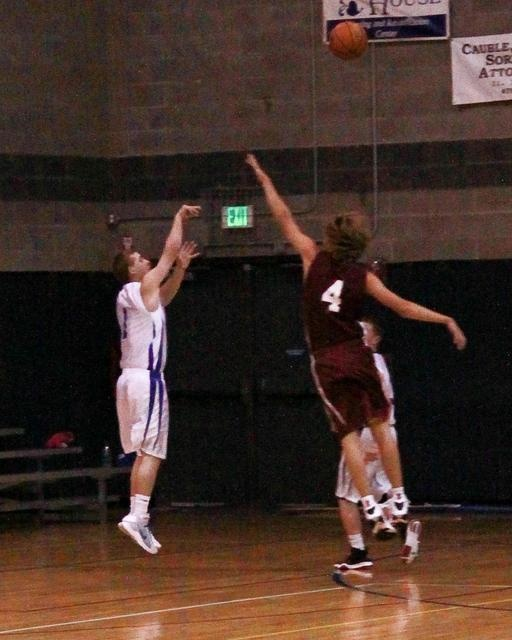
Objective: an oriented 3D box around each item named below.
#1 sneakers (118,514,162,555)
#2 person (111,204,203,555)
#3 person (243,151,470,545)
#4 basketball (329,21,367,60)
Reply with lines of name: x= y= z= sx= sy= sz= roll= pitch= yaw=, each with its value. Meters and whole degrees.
sneakers: x=-0.560 y=1.030 z=4.742 sx=0.180 sy=0.186 sz=0.101 roll=-3 pitch=1 yaw=-10
person: x=-0.495 y=0.348 z=5.076 sx=0.464 sy=1.748 sz=0.778 roll=-3 pitch=1 yaw=-3
person: x=0.451 y=0.120 z=4.656 sx=0.445 sy=1.604 sz=0.753 roll=-4 pitch=1 yaw=-41
basketball: x=0.597 y=-1.832 z=6.445 sx=0.231 sy=0.234 sz=0.186 roll=-3 pitch=1 yaw=-8
